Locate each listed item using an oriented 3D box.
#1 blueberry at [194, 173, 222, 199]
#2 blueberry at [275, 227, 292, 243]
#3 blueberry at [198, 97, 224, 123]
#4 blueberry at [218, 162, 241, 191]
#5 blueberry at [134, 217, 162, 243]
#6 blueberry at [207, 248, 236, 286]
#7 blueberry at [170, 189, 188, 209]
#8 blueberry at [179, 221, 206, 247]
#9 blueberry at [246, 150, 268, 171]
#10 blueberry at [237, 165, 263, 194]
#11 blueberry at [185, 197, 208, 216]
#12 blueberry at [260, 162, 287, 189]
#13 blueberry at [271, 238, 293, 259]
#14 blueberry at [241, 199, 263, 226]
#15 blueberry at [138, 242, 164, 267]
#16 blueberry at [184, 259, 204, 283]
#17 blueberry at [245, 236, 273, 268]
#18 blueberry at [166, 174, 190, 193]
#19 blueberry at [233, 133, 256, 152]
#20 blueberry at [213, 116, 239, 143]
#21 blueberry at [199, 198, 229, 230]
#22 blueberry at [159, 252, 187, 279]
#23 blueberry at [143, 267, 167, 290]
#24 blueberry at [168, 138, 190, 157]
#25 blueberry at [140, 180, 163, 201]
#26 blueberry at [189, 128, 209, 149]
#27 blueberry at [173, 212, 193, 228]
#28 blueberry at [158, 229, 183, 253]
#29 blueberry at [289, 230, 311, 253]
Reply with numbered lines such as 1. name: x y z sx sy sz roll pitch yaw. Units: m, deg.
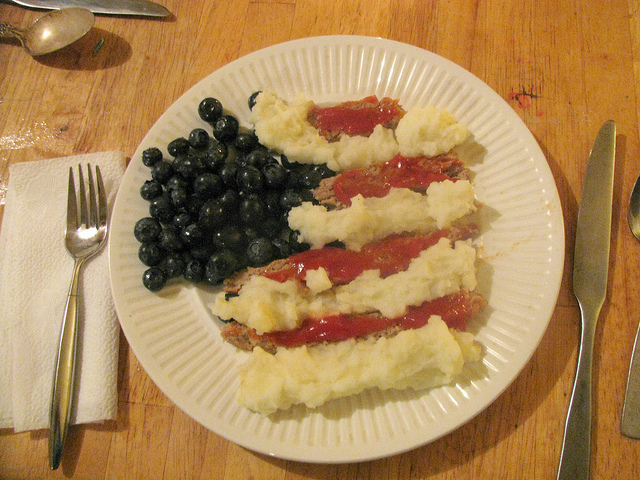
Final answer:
1. blueberry: -0.725 -0.344 4.252 0.171 0.100 0.152 -11 84 1
2. blueberry: -0.237 -0.041 4.346 0.079 0.035 0.097 8 72 11
3. blueberry: -0.726 -0.866 4.362 0.160 0.058 0.147 -26 84 -1
4. blueberry: -0.583 -0.401 4.316 0.142 0.155 0.205 1 80 -9
5. blueberry: -1.109 -0.062 4.240 0.172 0.075 0.155 -6 84 1
6. blueberry: -0.603 0.152 4.250 0.212 0.185 0.127 17 95 24
7. blueberry: -0.910 -0.268 4.310 0.093 0.105 0.135 4 101 14
8. blueberry: -0.816 -0.036 4.153 0.116 0.159 0.135 1 86 -3
9. blueberry: -0.415 -0.539 4.353 0.112 0.135 0.122 -19 105 0
10. blueberry: -0.454 -0.386 4.249 0.164 0.092 0.171 6 85 2
11. blueberry: -0.812 -0.221 4.324 0.113 0.065 0.105 -35 92 2
12. blueberry: -0.304 -0.419 4.321 0.135 0.080 0.163 -6 82 -4
13. blueberry: -0.249 0.060 4.261 0.095 0.070 0.137 0 74 -9
14. blueberry: -0.446 -0.188 4.286 0.125 0.131 0.170 -24 100 -21
15. blueberry: -1.082 0.092 4.236 0.156 0.083 0.152 37 87 5
16. blueberry: -0.810 0.200 4.221 0.125 0.047 0.146 -13 84 1
17. blueberry: -0.393 0.082 4.203 0.162 0.090 0.195 2 86 21
18. blueberry: -0.927 -0.366 4.267 0.094 0.065 0.128 19 70 -1
19. blueberry: -0.499 -0.646 4.407 0.124 0.104 0.098 29 55 32
20. blueberry: -0.625 -0.737 4.371 0.168 0.101 0.159 -7 84 1
21. blueberry: -0.683 -0.156 4.228 0.161 0.098 0.162 29 86 4
22. blueberry: -0.936 0.158 4.262 0.141 0.087 0.180 -4 76 1
23. blueberry: -1.055 0.250 4.198 0.136 0.074 0.138 15 85 3
24. blueberry: -0.932 -0.620 4.334 0.091 0.074 0.129 31 56 17
25. blueberry: -1.099 -0.323 4.273 0.106 0.098 0.131 15 48 2
26. blueberry: -0.801 -0.672 4.367 0.132 0.062 0.125 9 85 3
27. blueberry: -0.893 -0.128 4.297 0.094 0.075 0.083 -11 93 -18
28. blueberry: -0.959 0.013 4.246 0.136 0.084 0.118 17 66 4
29. blueberry: -0.131 0.026 4.252 0.110 0.074 0.133 -45 83 -4
